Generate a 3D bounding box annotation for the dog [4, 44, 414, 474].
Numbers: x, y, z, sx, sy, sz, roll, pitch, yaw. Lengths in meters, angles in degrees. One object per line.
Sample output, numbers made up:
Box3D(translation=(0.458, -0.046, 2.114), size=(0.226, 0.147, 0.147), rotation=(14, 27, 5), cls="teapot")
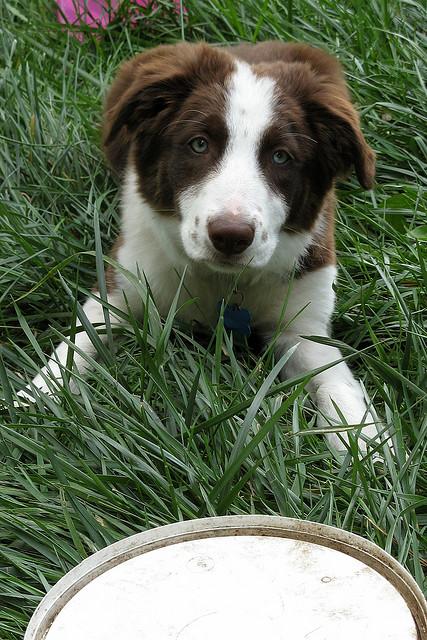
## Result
Box3D(translation=(0.048, -0.385, 2.890), size=(1.335, 1.073, 1.814), rotation=(0, 59, -3), cls="dog")
